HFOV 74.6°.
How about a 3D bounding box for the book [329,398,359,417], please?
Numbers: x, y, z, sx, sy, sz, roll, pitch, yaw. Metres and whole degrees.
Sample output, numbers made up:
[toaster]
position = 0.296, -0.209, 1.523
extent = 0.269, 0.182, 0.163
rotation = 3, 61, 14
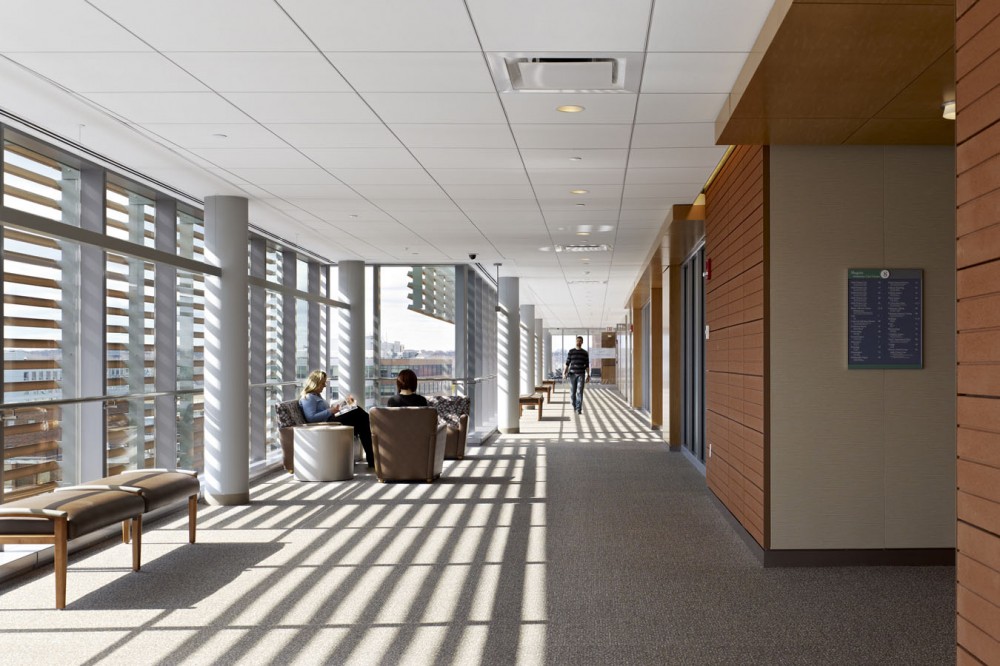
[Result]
[book]
position = -2.776, 1.295, 11.648
extent = 0.367, 0.103, 0.381
rotation = -7, 5, -23
